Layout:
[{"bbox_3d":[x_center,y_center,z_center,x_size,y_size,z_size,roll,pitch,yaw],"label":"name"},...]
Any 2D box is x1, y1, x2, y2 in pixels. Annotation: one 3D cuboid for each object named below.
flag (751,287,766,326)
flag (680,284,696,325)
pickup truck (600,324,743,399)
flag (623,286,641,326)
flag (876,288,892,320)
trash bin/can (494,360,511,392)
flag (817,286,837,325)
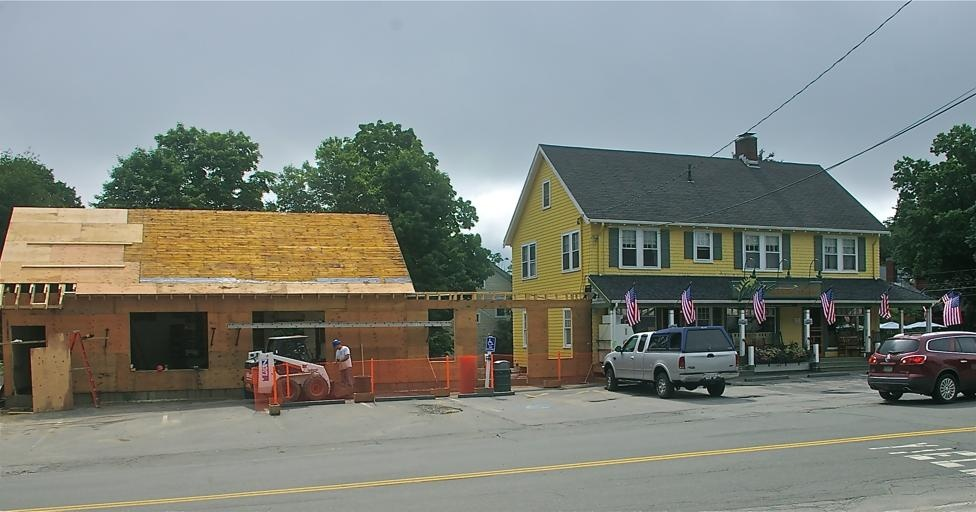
[{"bbox_3d":[16.001,2.860,51.794,0.646,2.035,1.633,-4,-11,14],"label":"flag"},{"bbox_3d":[11.654,2.795,50.921,0.792,2.316,2.416,-4,-11,12],"label":"flag"},{"bbox_3d":[9.609,5.567,46.524,4.104,2.406,7.490,1,-5,-27],"label":"pickup truck"},{"bbox_3d":[8.211,2.825,49.948,0.765,2.078,1.798,-3,-11,7],"label":"flag"},{"bbox_3d":[24.676,2.964,54.593,0.584,1.661,1.940,-6,-12,23],"label":"flag"},{"bbox_3d":[0.765,6.489,47.031,0.921,1.630,0.400,0,-11,-8],"label":"trash bin/can"},{"bbox_3d":[20.734,3.061,53.408,0.802,2.067,2.606,-6,-11,21],"label":"flag"}]
